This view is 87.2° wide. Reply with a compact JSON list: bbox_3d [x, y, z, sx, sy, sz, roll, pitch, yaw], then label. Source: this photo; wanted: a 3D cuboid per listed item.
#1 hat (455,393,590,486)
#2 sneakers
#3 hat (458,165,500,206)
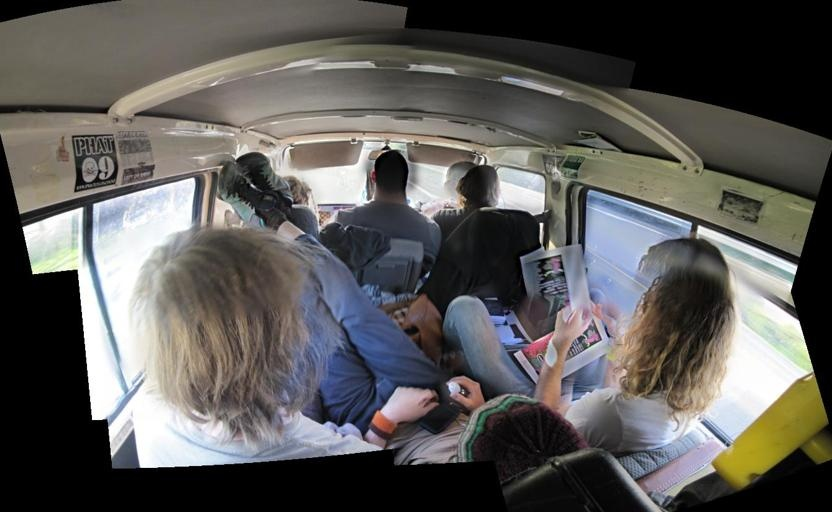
[{"bbox_3d":[0.296,0.520,1.264,0.307,0.271,0.106,-1,9,0],"label":"hat"},{"bbox_3d":[-0.444,-0.173,1.277,0.147,0.226,0.082,-39,6,-5],"label":"sneakers"},{"bbox_3d":[0.186,-0.216,1.315,0.098,0.108,0.127,4,21,4],"label":"hat"}]
